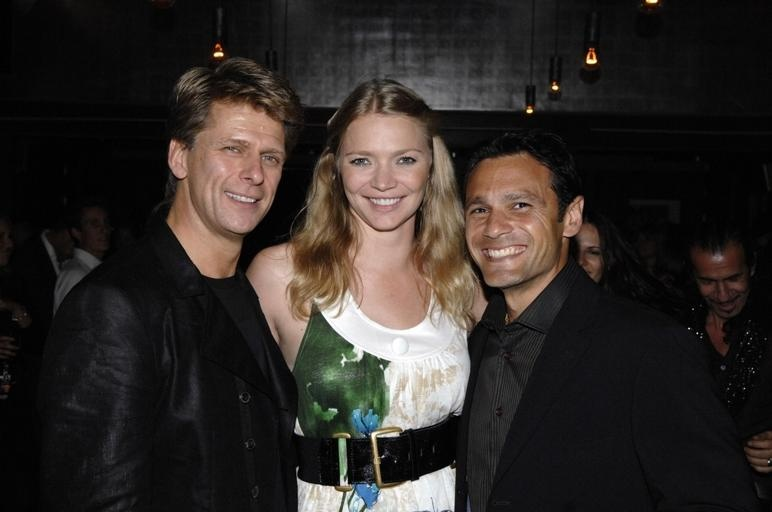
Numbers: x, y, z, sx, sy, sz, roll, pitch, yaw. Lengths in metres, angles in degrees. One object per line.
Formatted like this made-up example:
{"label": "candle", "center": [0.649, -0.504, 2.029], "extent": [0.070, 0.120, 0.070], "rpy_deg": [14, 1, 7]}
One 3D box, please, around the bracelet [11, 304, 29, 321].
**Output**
{"label": "bracelet", "center": [-3.126, 0.479, 5.803], "extent": [0.114, 0.110, 0.043], "rpy_deg": [-5, -29, 5]}

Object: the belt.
{"label": "belt", "center": [-0.040, 1.172, 4.043], "extent": [1.005, 0.358, 0.247], "rpy_deg": [0, 1, -8]}

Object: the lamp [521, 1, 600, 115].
{"label": "lamp", "center": [1.961, -2.398, 7.615], "extent": [0.887, 1.474, 1.650], "rpy_deg": [1, 1, 17]}
